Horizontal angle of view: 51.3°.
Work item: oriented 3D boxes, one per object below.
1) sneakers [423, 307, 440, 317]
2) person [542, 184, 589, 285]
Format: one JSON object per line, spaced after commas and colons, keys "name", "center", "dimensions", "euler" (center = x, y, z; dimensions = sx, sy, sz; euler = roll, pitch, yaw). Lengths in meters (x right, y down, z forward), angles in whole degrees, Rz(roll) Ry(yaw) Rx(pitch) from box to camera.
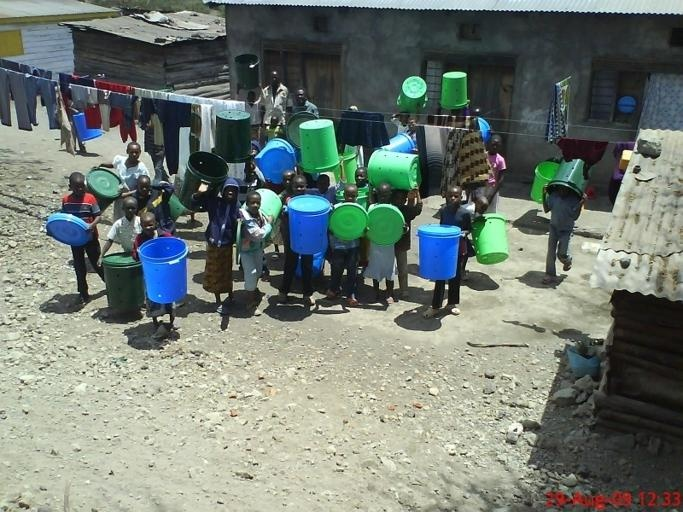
{"name": "sneakers", "center": [1.265, 0.809, 10.133], "dimensions": [0.188, 0.065, 0.116], "euler": [-16, 42, -24]}
{"name": "person", "center": [3.383, -0.328, 10.978], "dimensions": [0.526, 1.479, 0.526], "euler": [4, 17, 10]}
